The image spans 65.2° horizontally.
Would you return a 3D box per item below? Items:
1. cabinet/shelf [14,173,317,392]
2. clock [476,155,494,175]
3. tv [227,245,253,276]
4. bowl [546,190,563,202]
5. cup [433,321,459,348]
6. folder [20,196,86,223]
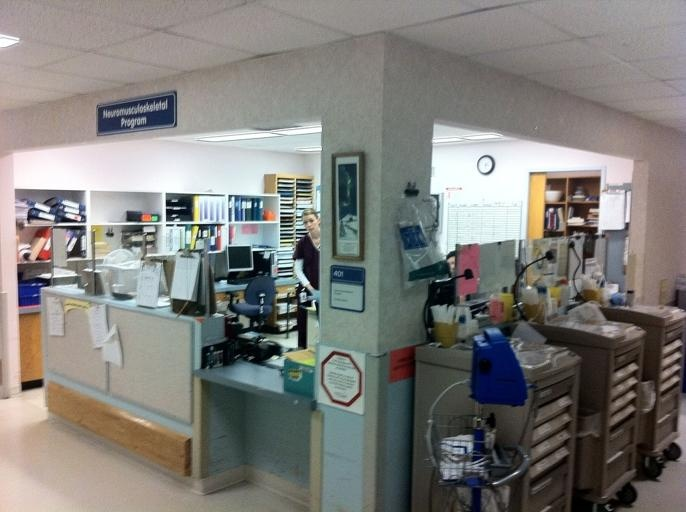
[{"bbox_3d":[-2.051,0.259,5.840,2.870,1.757,0.806,-4,4,-39],"label":"cabinet/shelf"},{"bbox_3d":[2.119,-1.344,7.982,0.274,0.296,0.072,7,13,36],"label":"clock"},{"bbox_3d":[-1.469,0.063,7.632,0.447,0.419,0.168,0,-3,-38],"label":"tv"},{"bbox_3d":[3.042,-0.853,7.747,0.196,0.107,0.190,-1,2,0],"label":"bowl"},{"bbox_3d":[0.682,0.528,3.585,0.165,0.181,0.161,-1,-5,0],"label":"cup"},{"bbox_3d":[-3.478,-0.528,6.450,0.747,0.317,0.233,-9,13,-36],"label":"folder"}]
